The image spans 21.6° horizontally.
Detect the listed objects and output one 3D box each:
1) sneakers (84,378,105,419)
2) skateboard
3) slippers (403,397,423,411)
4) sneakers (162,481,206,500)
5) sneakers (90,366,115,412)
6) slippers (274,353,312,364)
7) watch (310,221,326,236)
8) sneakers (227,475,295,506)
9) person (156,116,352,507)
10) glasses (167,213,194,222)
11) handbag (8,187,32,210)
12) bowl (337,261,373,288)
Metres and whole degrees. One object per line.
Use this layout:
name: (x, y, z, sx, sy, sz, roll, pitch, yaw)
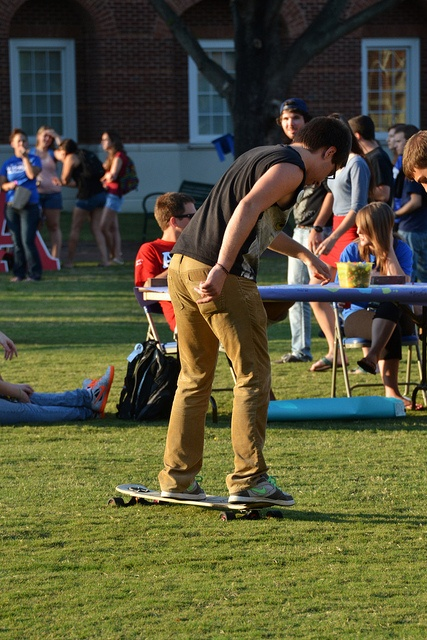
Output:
sneakers: (-0.642, 0.401, 5.978, 0.104, 0.260, 0.085, -8, 3, -9)
skateboard: (-0.073, 0.689, 4.198, 0.651, 0.094, 0.224, 4, 6, 27)
slippers: (1.089, 0.477, 6.187, 0.053, 0.044, 0.155, 0, -1, -6)
sneakers: (-0.104, 0.634, 4.209, 0.176, 0.085, 0.065, 0, 8, -25)
sneakers: (-0.595, 0.386, 5.978, 0.119, 0.289, 0.089, 14, 36, 1)
slippers: (0.552, 0.281, 7.873, 0.274, 0.117, 0.095, 3, 5, -1)
watch: (0.660, -0.574, 7.115, 0.066, 0.044, 0.061, 33, -19, -10)
sneakers: (0.179, 0.641, 4.113, 0.274, 0.132, 0.095, -1, 2, -22)
person: (0.146, -0.008, 4.011, 0.701, 1.430, 0.455, -1, 7, -4)
glasses: (-0.182, -0.567, 6.161, 0.128, 0.040, 0.128, -5, 4, 2)
handbag: (-1.835, -1.142, 10.636, 0.155, 0.189, 0.108, 24, -12, -6)
bowl: (0.673, -0.211, 5.379, 0.126, 0.091, 0.132, 1, 1, 0)
